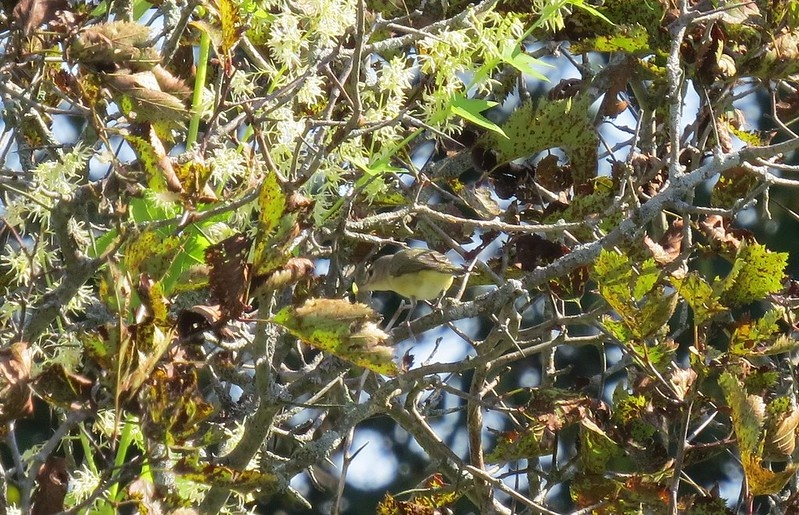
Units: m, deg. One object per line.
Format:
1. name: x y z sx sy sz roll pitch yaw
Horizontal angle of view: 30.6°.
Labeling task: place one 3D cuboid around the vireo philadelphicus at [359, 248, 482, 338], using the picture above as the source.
1. vireo philadelphicus: 0.044 0.093 4.956 0.402 0.204 0.243 -7 77 8
